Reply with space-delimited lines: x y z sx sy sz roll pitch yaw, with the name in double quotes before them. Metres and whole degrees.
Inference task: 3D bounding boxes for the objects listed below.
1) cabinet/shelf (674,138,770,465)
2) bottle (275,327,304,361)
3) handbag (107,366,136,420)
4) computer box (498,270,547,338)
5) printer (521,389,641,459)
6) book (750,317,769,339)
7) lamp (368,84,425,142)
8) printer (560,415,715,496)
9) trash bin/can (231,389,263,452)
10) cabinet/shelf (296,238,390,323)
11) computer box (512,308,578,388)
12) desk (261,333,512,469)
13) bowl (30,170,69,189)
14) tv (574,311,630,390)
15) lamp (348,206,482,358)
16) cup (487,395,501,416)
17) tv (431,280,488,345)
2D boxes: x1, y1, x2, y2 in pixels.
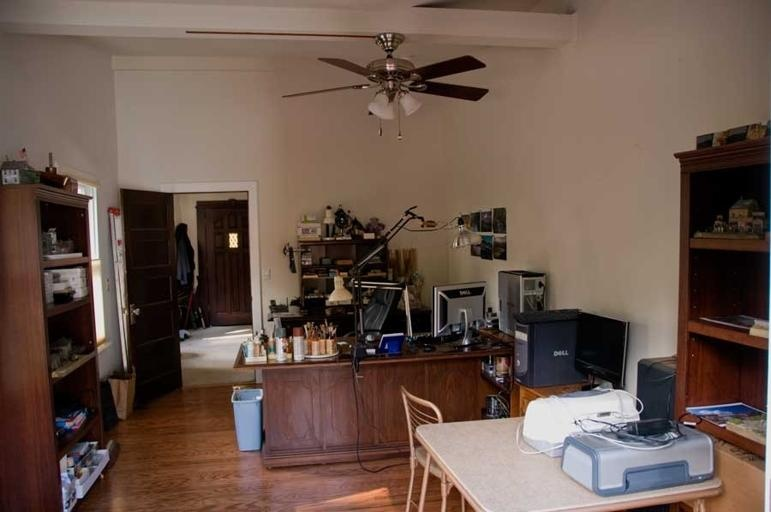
"cabinet/shelf" 2.267 0.181 3.842 0.535 1.825 0.429 0 4 35
"bottle" -0.964 0.870 5.674 0.314 0.301 0.310 1 -3 -45
"handbag" -3.254 1.711 6.856 0.425 0.551 0.328 1 4 -41
"computer box" 1.476 0.508 6.156 0.374 0.673 0.485 -4 8 -16
"printer" 1.462 1.153 4.200 0.787 0.364 0.500 -3 9 -15
"book" 2.355 0.457 3.577 0.108 0.027 0.111 -13 18 35
"lamp" 0.054 -1.279 5.008 0.367 0.405 0.356 18 25 35
"printer" 1.716 1.320 3.876 0.884 0.429 0.529 -3 4 -12
"trash bin/can" -1.453 1.729 6.018 0.289 0.633 0.465 -3 3 -14
"cabinet/shelf" -0.581 0.338 7.377 1.108 1.086 0.392 0 -5 -10
"computer box" 1.508 0.895 5.342 0.557 0.603 0.330 -3 4 -19
"desk" -0.078 1.706 6.017 2.372 1.044 0.856 -2 -30 -7
"bowl" -2.947 -0.689 5.043 0.231 0.145 0.213 1 -1 0
"tv" 1.925 0.818 5.017 0.094 0.690 0.630 -5 10 -30
"lamp" 0.325 0.332 6.043 1.448 1.662 0.391 -5 18 -4
"cup" 1.056 1.462 5.530 0.139 0.264 0.296 -2 3 10
"tv" 0.760 0.603 5.840 0.614 0.539 0.199 -2 8 -28
